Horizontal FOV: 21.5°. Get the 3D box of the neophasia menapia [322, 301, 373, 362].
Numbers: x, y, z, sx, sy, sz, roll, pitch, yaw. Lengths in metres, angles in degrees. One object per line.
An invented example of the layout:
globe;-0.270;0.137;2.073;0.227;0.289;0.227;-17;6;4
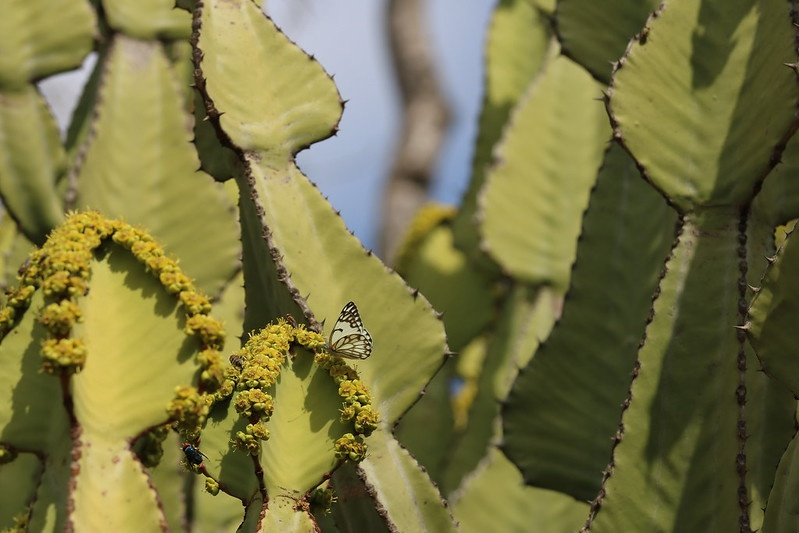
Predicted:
neophasia menapia;-0.111;0.160;5.046;0.111;0.089;0.128;-2;-47;24
